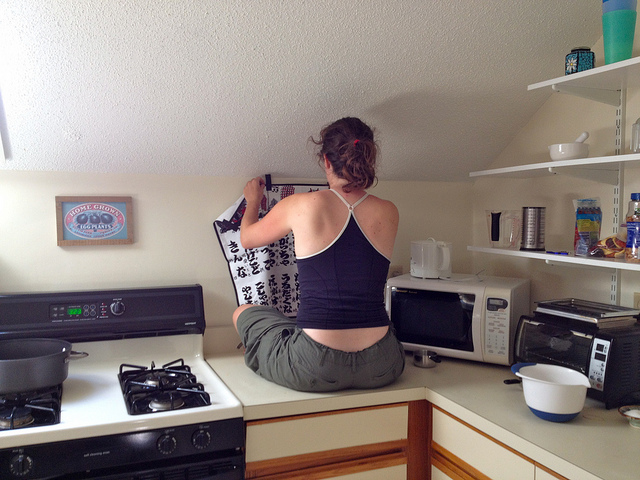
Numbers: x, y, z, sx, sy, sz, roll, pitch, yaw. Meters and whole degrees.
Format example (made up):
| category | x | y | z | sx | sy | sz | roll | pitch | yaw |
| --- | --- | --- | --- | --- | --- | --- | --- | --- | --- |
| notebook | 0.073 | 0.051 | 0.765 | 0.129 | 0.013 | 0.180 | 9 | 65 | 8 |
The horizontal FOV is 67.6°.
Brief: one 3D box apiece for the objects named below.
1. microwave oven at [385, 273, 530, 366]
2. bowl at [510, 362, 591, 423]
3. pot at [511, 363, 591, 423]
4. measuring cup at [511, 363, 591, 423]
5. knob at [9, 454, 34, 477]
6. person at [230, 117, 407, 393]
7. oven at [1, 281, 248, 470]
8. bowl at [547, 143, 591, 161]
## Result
| category | x | y | z | sx | sy | sz | roll | pitch | yaw |
| --- | --- | --- | --- | --- | --- | --- | --- | --- | --- |
| microwave oven | 0.697 | 0.406 | 2.454 | 0.629 | 0.386 | 0.453 | 1 | -2 | 38 |
| bowl | 0.854 | 0.571 | 1.794 | 0.301 | 0.163 | 0.263 | 1 | 0 | 41 |
| pot | 0.851 | 0.571 | 1.794 | 0.286 | 0.161 | 0.263 | -1 | 0 | 0 |
| measuring cup | 0.870 | 0.573 | 1.792 | 0.210 | 0.153 | 0.289 | -3 | 4 | -18 |
| knob | -0.998 | 0.754 | 1.596 | 0.072 | 0.070 | 0.071 | -1 | -4 | -11 |
| person | -0.008 | 0.067 | 2.267 | 0.856 | 1.139 | 0.794 | 2 | 4 | 1 |
| oven | -0.864 | 0.418 | 2.005 | 0.818 | 0.513 | 0.825 | 0 | 2 | -22 |
| bowl | 1.098 | -0.386 | 2.103 | 0.107 | 0.040 | 0.105 | -1 | 3 | 0 |
